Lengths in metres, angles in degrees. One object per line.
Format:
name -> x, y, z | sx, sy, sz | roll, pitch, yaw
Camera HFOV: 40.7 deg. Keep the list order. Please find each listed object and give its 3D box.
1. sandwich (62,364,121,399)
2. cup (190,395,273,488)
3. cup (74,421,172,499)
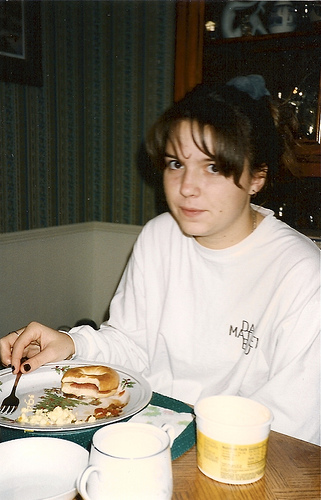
sandwich -> -0.104, 0.197, 0.659 | 0.087, 0.030, 0.087 | 5, 0, 8
cup -> 0.068, 0.173, 0.423 | 0.073, 0.056, 0.077 | -1, 3, 0
cup -> -0.027, 0.152, 0.360 | 0.049, 0.052, 0.079 | 6, 12, 31
